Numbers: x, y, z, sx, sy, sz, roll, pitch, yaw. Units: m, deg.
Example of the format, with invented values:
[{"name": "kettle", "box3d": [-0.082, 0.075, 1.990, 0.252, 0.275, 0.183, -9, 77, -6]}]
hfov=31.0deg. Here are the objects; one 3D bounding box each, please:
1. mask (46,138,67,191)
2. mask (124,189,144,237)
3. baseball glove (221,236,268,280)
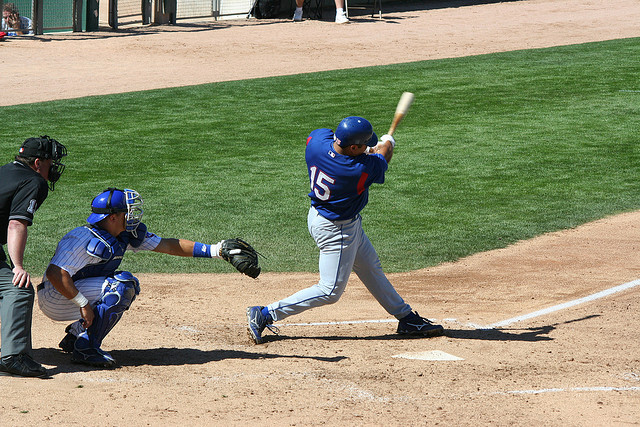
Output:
[{"name": "mask", "box3d": [-3.094, -0.558, 13.555, 0.216, 0.696, 0.890, -3, 11, -13]}, {"name": "mask", "box3d": [-2.175, -0.027, 13.452, 0.214, 0.552, 0.605, -2, 11, -9]}, {"name": "baseball glove", "box3d": [-0.911, 0.496, 13.420, 0.503, 0.206, 0.394, 37, 34, 20]}]
